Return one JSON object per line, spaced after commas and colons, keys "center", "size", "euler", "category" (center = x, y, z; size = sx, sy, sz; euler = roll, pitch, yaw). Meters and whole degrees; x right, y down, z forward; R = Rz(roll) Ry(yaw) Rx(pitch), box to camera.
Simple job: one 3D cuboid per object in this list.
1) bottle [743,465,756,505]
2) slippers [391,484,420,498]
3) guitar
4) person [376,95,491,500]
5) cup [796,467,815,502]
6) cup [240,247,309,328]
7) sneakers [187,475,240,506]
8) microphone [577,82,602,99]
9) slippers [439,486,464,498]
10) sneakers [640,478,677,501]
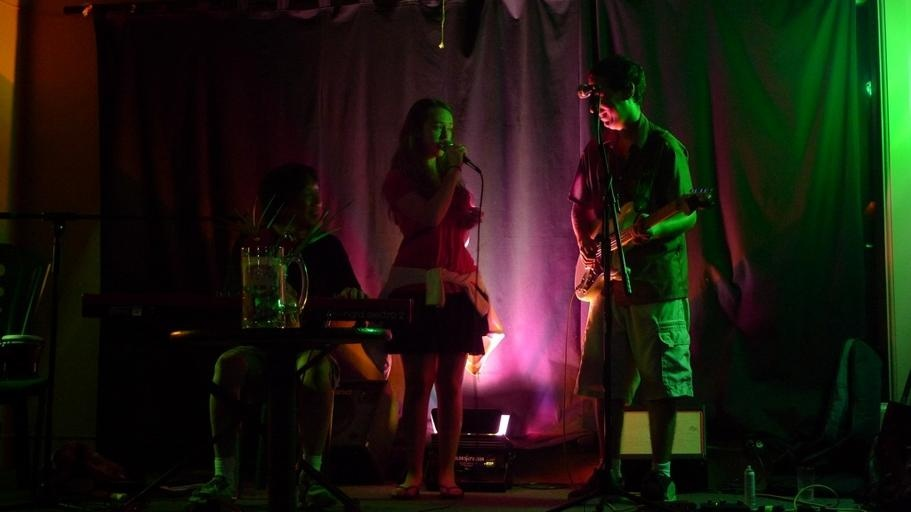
{"center": [2.053, 1.606, 5.890], "size": [0.066, 0.252, 0.161], "euler": [-2, -7, 16], "category": "bottle"}
{"center": [-0.365, 1.722, 6.179], "size": [0.088, 0.050, 0.159], "euler": [-14, -25, 40], "category": "slippers"}
{"center": [1.266, -0.067, 5.962], "size": [1.074, 0.718, 0.626], "euler": [-3, -8, 25], "category": "guitar"}
{"center": [-0.150, 0.305, 6.314], "size": [0.792, 2.926, 0.459], "euler": [0, -7, -2], "category": "person"}
{"center": [2.529, 1.639, 6.103], "size": [0.109, 0.224, 0.291], "euler": [-3, -8, 21], "category": "cup"}
{"center": [-1.077, 0.186, 5.025], "size": [0.382, 0.463, 0.169], "euler": [2, -7, -17], "category": "cup"}
{"center": [-1.671, 1.633, 5.860], "size": [0.289, 0.137, 0.381], "euler": [1, -1, -27], "category": "sneakers"}
{"center": [0.948, -1.154, 5.823], "size": [0.198, 0.100, 0.144], "euler": [4, -5, -31], "category": "microphone"}
{"center": [-0.025, 1.717, 6.190], "size": [0.179, 0.094, 0.126], "euler": [1, -7, -7], "category": "slippers"}
{"center": [1.416, 1.615, 5.896], "size": [0.230, 0.163, 0.167], "euler": [-1, -7, 10], "category": "sneakers"}
